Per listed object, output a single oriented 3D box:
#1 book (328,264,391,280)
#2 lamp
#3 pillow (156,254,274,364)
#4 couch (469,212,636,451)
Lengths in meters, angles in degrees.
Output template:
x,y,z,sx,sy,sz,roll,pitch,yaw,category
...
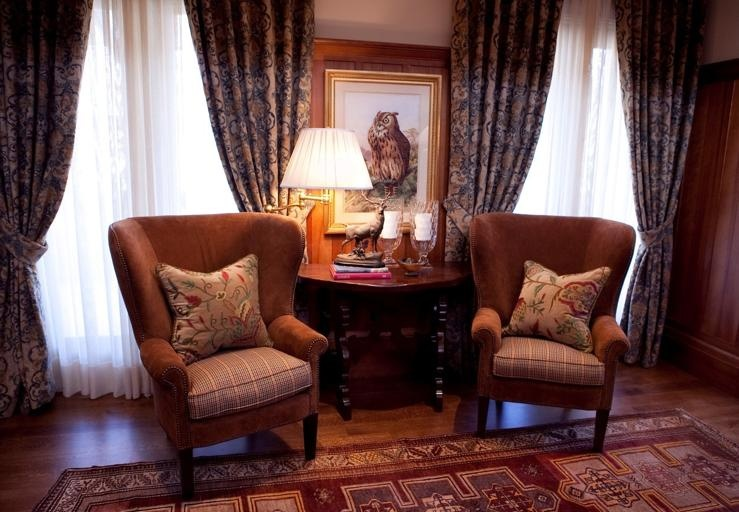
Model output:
x,y,z,sx,sy,sz,roll,pitch,yaw,category
-0.064,0.105,3.898,0.421,0.086,0.180,0,14,-4,book
-0.329,-0.551,3.910,0.638,0.535,0.604,1,8,11,lamp
-0.964,0.349,3.577,0.663,0.586,0.326,-11,19,-41,pillow
1.256,0.450,3.973,1.073,1.464,0.995,4,9,26,couch
